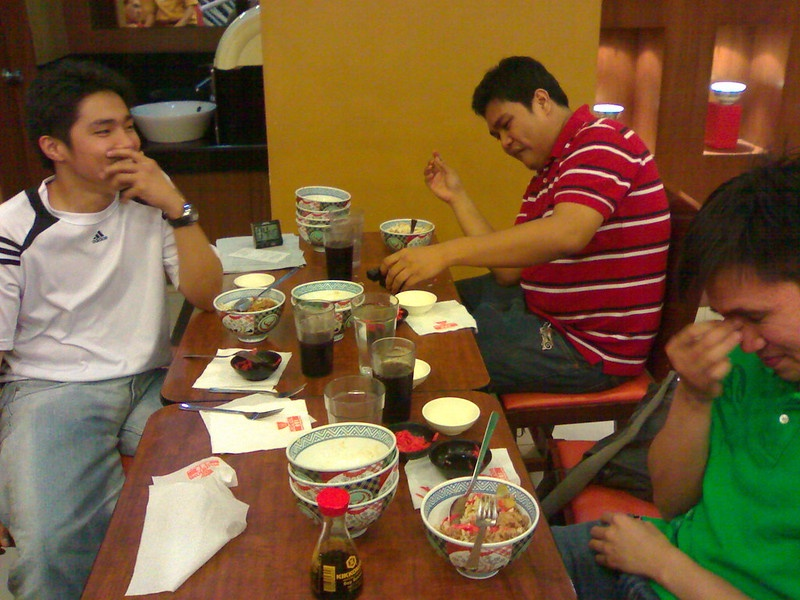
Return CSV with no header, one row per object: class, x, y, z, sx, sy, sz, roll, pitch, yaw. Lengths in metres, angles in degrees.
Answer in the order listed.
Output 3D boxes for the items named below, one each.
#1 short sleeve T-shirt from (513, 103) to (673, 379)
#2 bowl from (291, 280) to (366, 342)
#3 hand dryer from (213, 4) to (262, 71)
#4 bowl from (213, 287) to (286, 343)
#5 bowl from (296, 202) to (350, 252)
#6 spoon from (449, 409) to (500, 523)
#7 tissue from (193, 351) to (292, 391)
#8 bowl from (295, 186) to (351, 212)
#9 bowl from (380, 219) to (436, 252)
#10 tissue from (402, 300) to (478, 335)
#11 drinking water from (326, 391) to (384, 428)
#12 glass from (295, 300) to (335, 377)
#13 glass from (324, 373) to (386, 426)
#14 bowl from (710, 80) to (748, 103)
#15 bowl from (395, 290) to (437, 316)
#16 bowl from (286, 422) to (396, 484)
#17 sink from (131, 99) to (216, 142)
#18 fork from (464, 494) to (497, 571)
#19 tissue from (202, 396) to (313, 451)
short sleeve T-shirt,0.690,-0.188,2.181,0.541,0.903,0.859,-6,16,-2
bowl,-0.203,0.038,1.816,0.152,0.088,0.145,0,24,0
hand dryer,-0.911,-1.557,3.717,0.426,0.334,0.227,16,27,39
bowl,-0.442,0.037,1.888,0.197,0.106,0.183,-1,28,0
bowl,-0.310,-0.305,2.548,0.199,0.148,0.205,-1,19,0
spoon,0.172,0.299,1.280,0.044,0.058,0.303,-11,51,51
tissue,-0.441,0.195,1.671,0.139,0.010,0.140,2,29,4
bowl,-0.328,-0.436,2.683,0.207,0.079,0.200,3,16,-1
bowl,0.027,-0.280,2.553,0.180,0.075,0.168,-1,19,0
tissue,0.135,0.064,2.000,0.135,0.026,0.129,-10,33,-13
drinking water,-0.100,0.226,1.345,0.098,0.064,0.081,3,22,4
glass,-0.224,0.113,1.696,0.102,0.188,0.084,-4,21,-8
glass,-0.102,0.216,1.364,0.116,0.085,0.121,3,25,2
bowl,0.569,-0.365,1.067,0.052,0.021,0.048,-4,36,3
bowl,0.057,0.009,2.097,0.100,0.035,0.093,1,25,-1
bowl,-0.117,0.308,1.254,0.135,0.039,0.127,-2,18,1
sink,-1.507,-1.194,4.182,0.567,0.179,0.525,-3,23,-8
fork,0.150,0.406,1.124,0.033,0.019,0.173,-1,34,22
tissue,-0.336,0.297,1.492,0.152,0.016,0.150,-2,22,-4
